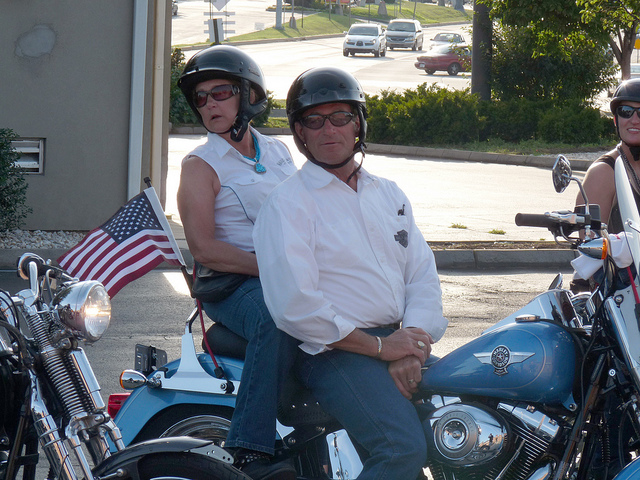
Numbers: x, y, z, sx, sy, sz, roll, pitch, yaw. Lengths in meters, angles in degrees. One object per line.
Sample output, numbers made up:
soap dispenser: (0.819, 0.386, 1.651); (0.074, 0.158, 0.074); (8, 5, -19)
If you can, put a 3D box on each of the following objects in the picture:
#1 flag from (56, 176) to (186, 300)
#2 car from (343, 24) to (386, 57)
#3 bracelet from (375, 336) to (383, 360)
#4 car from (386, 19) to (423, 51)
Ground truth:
flag: (-1.651, -0.025, 8.337); (0.962, 0.938, 0.162); (-34, 8, -15)
car: (2.115, -9.436, 47.985); (1.506, 1.616, 2.943); (0, 6, 23)
bracelet: (0.325, 0.595, 5.639); (0.046, 0.129, 0.041); (2, 6, 39)
car: (4.328, -10.635, 52.967); (1.754, 1.645, 1.805); (-2, 5, 9)
